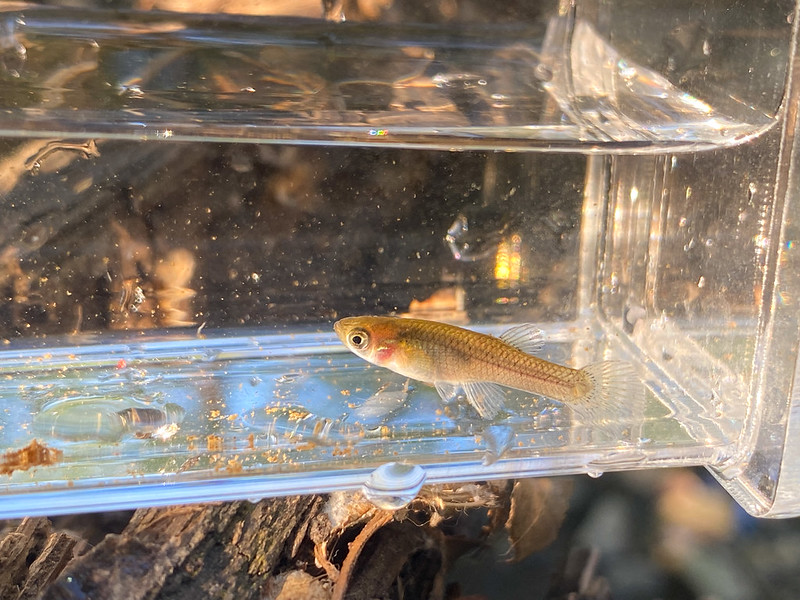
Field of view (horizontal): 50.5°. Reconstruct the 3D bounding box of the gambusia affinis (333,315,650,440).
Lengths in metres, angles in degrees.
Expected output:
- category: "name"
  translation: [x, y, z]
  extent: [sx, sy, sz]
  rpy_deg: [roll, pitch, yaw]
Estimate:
- category: "gambusia affinis"
  translation: [0.213, 0.169, 2.166]
  extent: [0.776, 0.271, 0.178]
  rpy_deg: [12, 26, 12]
